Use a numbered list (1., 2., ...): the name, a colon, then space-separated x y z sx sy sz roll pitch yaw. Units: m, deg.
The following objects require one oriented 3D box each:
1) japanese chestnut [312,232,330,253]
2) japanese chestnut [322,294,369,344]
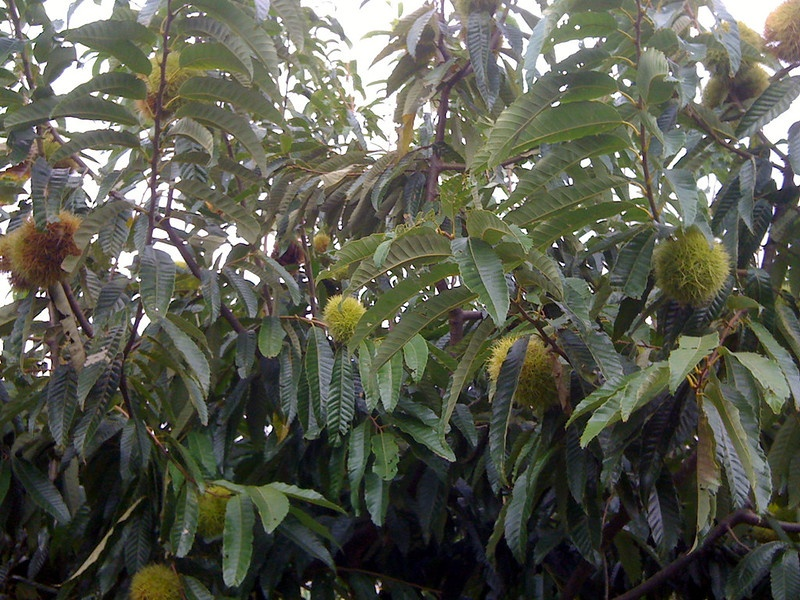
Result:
1. japanese chestnut: -0.427 -0.314 4.085 0.106 0.123 0.115 -3 -6 2
2. japanese chestnut: -0.218 0.069 2.960 0.190 0.214 0.189 0 -1 -27
